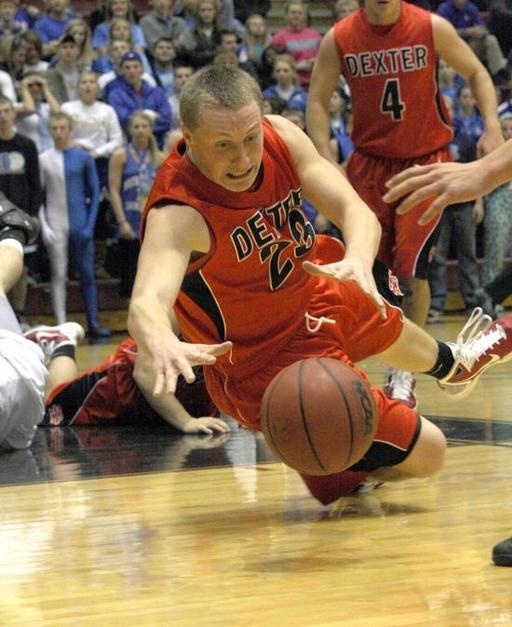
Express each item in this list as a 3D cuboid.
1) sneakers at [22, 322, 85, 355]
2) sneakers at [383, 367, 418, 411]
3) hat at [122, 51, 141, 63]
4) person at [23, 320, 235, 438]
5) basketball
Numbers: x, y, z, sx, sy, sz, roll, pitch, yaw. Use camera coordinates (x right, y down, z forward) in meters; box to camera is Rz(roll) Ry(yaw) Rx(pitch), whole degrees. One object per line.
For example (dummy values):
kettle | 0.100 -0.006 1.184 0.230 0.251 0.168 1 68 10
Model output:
sneakers | -1.000 0.129 3.672 0.382 0.130 0.148 9 54 -45
sneakers | 0.611 0.309 2.912 0.129 0.130 0.334 -4 -14 20
hat | -1.247 -2.530 6.913 0.213 0.113 0.214 -9 30 -8
person | -0.609 0.282 3.390 1.389 0.523 0.644 0 -4 32
basketball | 0.144 0.263 1.564 0.256 0.301 0.205 -6 31 -2
